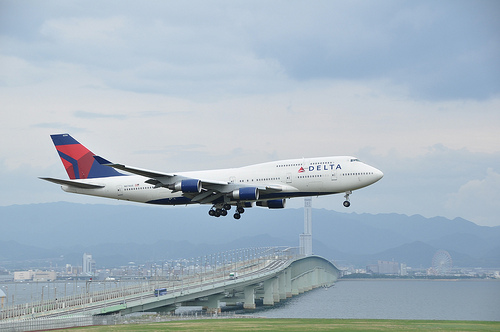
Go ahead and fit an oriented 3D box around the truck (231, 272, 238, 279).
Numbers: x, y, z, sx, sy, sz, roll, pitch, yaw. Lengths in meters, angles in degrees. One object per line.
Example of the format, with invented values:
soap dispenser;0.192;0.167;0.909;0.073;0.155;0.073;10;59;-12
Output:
truck;-3.823;26.418;194.093;1.313;1.278;2.155;1;-2;15

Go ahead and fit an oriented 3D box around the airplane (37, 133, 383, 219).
airplane;-7.964;2.587;173.315;65.107;17.155;9.595;1;-4;3

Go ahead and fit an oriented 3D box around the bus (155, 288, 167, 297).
bus;-19.494;27.621;177.027;1.512;0.847;2.104;2;2;44
